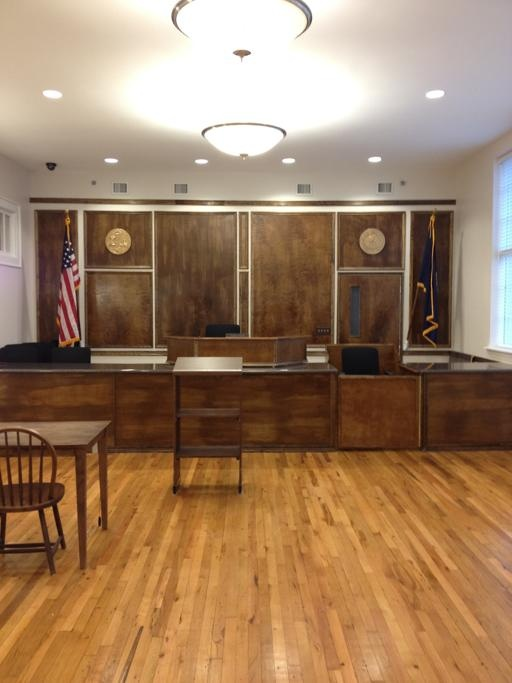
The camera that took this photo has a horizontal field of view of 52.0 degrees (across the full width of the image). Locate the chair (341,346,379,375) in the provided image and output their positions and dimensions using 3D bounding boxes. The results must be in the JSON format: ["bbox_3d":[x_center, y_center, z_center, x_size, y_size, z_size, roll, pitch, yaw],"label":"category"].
[{"bbox_3d":[1.092,0.183,5.481,0.391,0.280,0.353,0,3,1],"label":"chair"}]

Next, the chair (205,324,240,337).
[{"bbox_3d":[-0.433,-0.155,6.735,0.409,0.144,0.167,0,3,-6],"label":"chair"}]

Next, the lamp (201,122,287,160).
[{"bbox_3d":[-0.117,-1.939,4.931,0.768,0.279,0.430,0,3,0],"label":"lamp"}]

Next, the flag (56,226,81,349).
[{"bbox_3d":[-2.506,-0.779,7.030,0.255,1.651,0.365,-1,3,-21],"label":"flag"}]

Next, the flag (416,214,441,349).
[{"bbox_3d":[2.384,-0.853,7.293,0.295,1.841,0.438,1,3,18],"label":"flag"}]
